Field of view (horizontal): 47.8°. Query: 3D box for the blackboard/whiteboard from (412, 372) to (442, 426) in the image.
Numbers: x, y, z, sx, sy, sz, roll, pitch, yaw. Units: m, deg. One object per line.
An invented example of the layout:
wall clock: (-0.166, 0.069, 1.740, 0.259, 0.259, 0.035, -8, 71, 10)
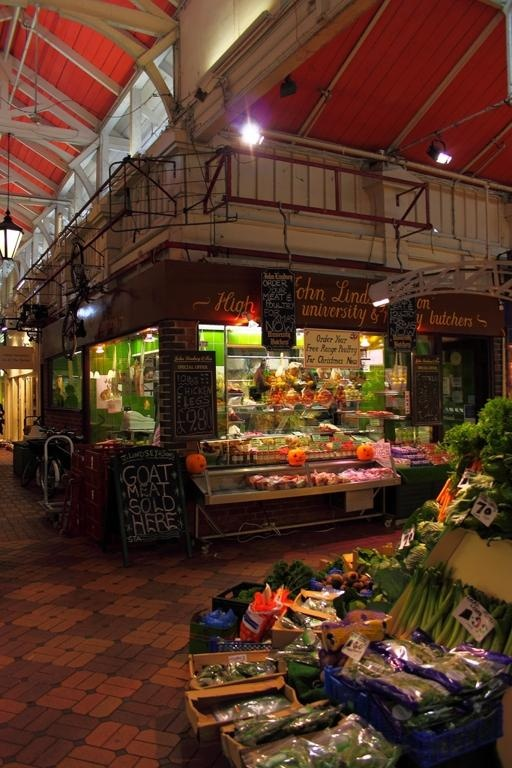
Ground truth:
blackboard/whiteboard: (2.399, 0.195, 8.133, 0.736, 1.010, 0.098, 2, -3, -35)

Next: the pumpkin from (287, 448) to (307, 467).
pumpkin: (0.483, 0.816, 6.643, 0.216, 0.179, 0.187, -12, 31, -1)

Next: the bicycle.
bicycle: (-3.358, 1.277, 9.461, 1.194, 1.743, 1.289, -1, 4, -24)

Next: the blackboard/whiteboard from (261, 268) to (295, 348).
blackboard/whiteboard: (0.256, -0.874, 6.640, 0.325, 0.948, 0.261, -2, 5, -28)

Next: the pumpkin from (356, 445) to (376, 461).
pumpkin: (1.349, 0.836, 7.066, 0.198, 0.197, 0.199, -1, -5, 20)

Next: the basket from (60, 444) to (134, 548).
basket: (-1.672, 1.208, 6.165, 0.662, 1.085, 1.111, 1, -1, -23)

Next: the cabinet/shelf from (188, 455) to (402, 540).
cabinet/shelf: (0.469, 1.313, 6.582, 2.472, 0.837, 0.645, -1, -1, -27)

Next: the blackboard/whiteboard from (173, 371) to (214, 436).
blackboard/whiteboard: (-0.647, 0.219, 6.209, 0.477, 0.716, 0.058, -1, -1, -32)

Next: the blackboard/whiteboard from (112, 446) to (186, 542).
blackboard/whiteboard: (-1.055, 1.081, 5.668, 0.907, 1.258, 0.452, 1, -9, -29)

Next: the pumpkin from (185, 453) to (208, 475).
pumpkin: (-0.621, 0.835, 6.166, 0.202, 0.193, 0.206, 1, 3, 16)

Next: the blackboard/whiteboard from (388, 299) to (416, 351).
blackboard/whiteboard: (2.021, -0.822, 7.864, 0.577, 0.705, 0.170, -1, -1, -38)
